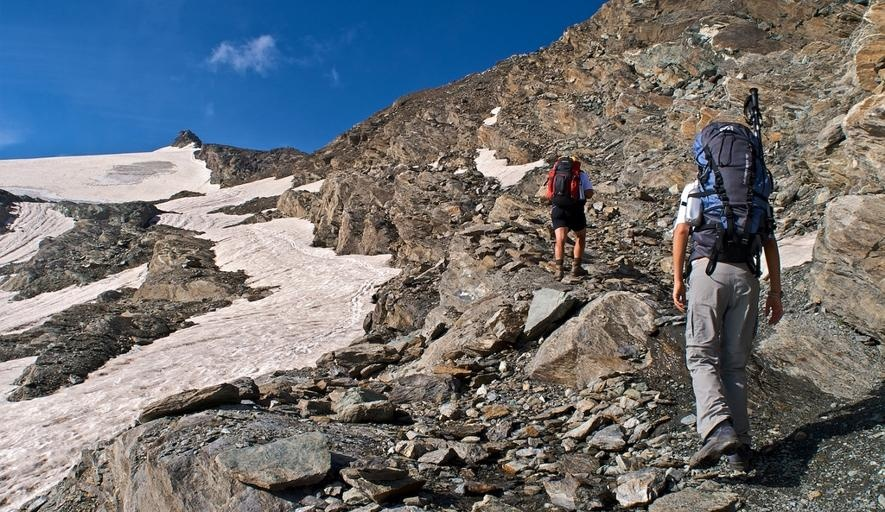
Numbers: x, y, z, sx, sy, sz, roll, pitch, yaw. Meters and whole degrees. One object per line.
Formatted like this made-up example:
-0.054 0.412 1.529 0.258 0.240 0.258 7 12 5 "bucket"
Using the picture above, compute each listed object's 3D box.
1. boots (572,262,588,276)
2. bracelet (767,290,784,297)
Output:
4.341 0.393 21.392 0.518 0.498 0.319 -13 10 0 "boots"
8.385 0.930 16.876 0.327 0.314 0.110 -26 43 53 "bracelet"
